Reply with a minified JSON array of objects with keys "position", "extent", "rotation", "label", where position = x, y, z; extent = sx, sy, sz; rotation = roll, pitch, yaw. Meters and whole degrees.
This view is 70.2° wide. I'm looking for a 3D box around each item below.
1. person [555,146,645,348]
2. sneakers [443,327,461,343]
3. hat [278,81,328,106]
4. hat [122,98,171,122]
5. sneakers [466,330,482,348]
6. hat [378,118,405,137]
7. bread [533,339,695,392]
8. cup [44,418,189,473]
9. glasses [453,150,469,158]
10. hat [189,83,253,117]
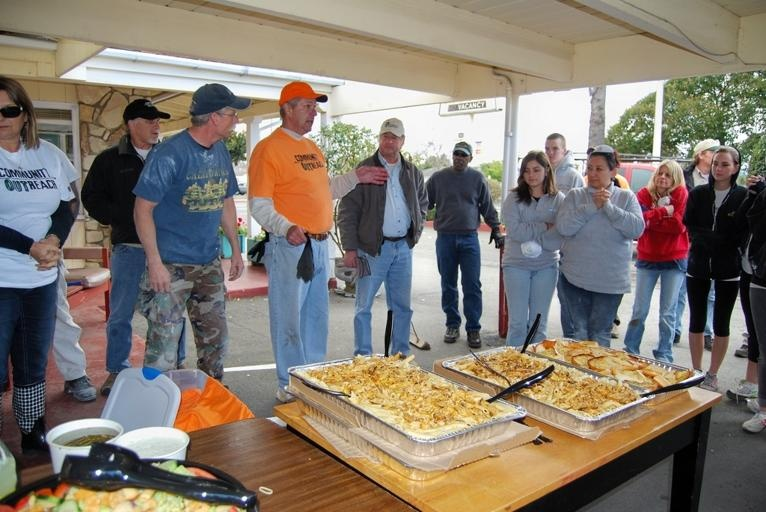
[{"position":[1.965,-0.065,5.003],"extent":[0.732,1.871,0.617],"rotation":[4,10,27],"label":"person"},{"position":[0.866,0.983,6.768],"extent":[0.149,0.148,0.403],"rotation":[-1,-9,14],"label":"sneakers"},{"position":[-0.662,-1.340,4.470],"extent":[0.429,0.201,0.260],"rotation":[-6,16,0],"label":"hat"},{"position":[-2.142,-1.282,4.871],"extent":[0.419,0.177,0.254],"rotation":[1,12,-2],"label":"hat"},{"position":[1.099,1.004,6.596],"extent":[0.177,0.186,0.458],"rotation":[-1,-5,6],"label":"sneakers"},{"position":[0.101,-1.292,5.477],"extent":[0.180,0.132,0.247],"rotation":[10,12,11],"label":"hat"},{"position":[1.381,0.642,3.275],"extent":[0.370,0.084,0.627],"rotation":[-5,9,-41],"label":"bread"},{"position":[-1.078,0.751,2.217],"extent":[0.473,0.156,0.269],"rotation":[13,7,-13],"label":"cup"},{"position":[0.952,-1.237,6.576],"extent":[0.094,0.042,0.127],"rotation":[14,6,24],"label":"glasses"},{"position":[-1.210,-1.161,4.066],"extent":[0.417,0.203,0.251],"rotation":[-6,28,-19],"label":"hat"}]
